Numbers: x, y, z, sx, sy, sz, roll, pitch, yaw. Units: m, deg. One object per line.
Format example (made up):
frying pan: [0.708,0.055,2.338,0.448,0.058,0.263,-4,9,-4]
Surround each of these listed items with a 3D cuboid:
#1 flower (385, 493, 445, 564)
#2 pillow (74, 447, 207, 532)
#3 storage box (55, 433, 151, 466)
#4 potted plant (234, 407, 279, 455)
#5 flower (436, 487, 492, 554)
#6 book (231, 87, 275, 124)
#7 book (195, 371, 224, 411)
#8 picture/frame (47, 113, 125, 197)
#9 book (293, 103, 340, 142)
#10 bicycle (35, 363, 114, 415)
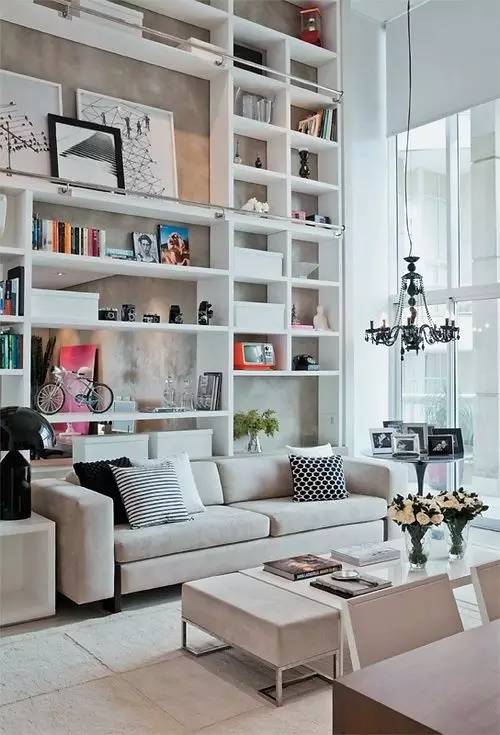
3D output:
flower: [0.867,0.866,3.072,0.238,0.314,0.270,9,-13,-27]
pillow: [-0.649,0.790,3.818,0.516,0.381,0.799,-3,-5,43]
storage box: [-1.003,0.556,4.330,0.649,0.236,0.597,2,-4,-44]
potted plant: [0.028,0.561,5.283,0.399,0.402,0.354,3,-8,-34]
flower: [1.121,0.862,3.192,0.263,0.337,0.286,3,-15,19]
book: [0.039,-2.380,5.421,0.382,0.382,0.282,19,28,41]
book: [-0.371,0.210,4.985,0.239,0.325,0.152,-2,-4,32]
picture/frame: [-1.219,-1.543,4.351,0.666,0.691,0.050,3,-11,-38]
book: [0.696,-2.416,5.804,0.304,0.133,0.419,2,8,-18]
bicycle: [-1.419,0.203,4.847,0.754,0.457,0.356,4,-10,-37]
